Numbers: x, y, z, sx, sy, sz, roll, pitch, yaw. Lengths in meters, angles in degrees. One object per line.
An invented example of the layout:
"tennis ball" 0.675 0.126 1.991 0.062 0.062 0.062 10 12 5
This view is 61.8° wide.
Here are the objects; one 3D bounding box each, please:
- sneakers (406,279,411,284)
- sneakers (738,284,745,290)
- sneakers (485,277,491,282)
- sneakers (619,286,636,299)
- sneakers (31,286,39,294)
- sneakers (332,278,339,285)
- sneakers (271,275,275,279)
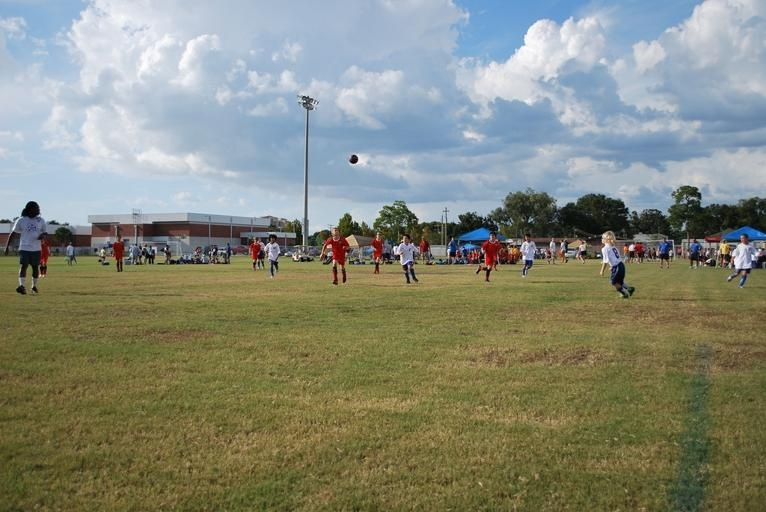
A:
"sneakers" 0.898 0.883 22.162 0.104 0.149 0.096 0 -7 6
"sneakers" 11.409 0.966 20.331 0.117 0.238 0.353 -2 -7 6
"sneakers" 3.883 0.855 23.674 0.105 0.233 0.287 6 -17 -33
"sneakers" 6.308 0.931 16.548 0.122 0.275 0.358 -9 1 -16
"sneakers" -8.978 0.866 16.545 0.133 0.208 0.284 0 -1 -30
"sneakers" -1.577 0.870 21.524 0.156 0.097 0.244 4 -17 -11
"sneakers" -4.324 0.812 25.191 0.140 0.161 0.379 2 -8 -12
